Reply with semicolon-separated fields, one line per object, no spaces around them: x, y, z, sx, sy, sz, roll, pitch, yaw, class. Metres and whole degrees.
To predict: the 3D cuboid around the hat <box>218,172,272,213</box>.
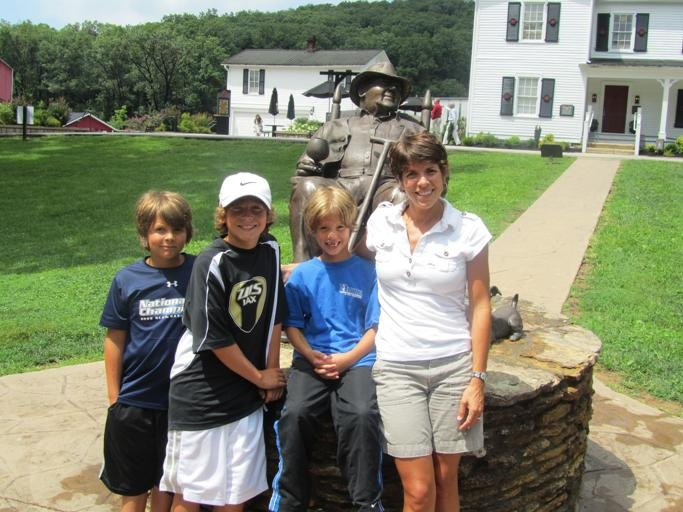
-0.518;-0.327;3.446;0.244;0.157;0.320;-5;-15;-16;hat

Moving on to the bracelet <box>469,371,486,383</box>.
0.722;0.650;3.321;0.081;0.048;0.085;5;-30;2;bracelet
